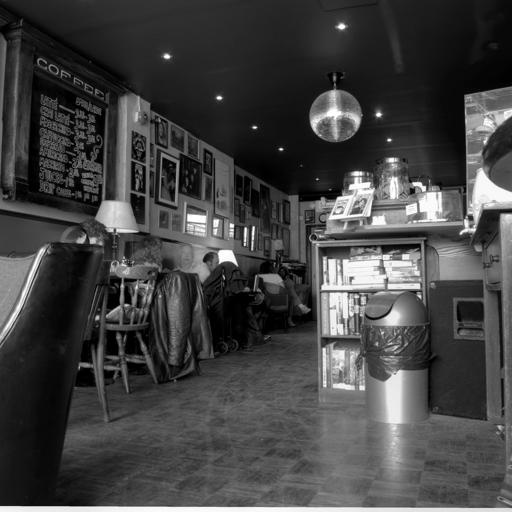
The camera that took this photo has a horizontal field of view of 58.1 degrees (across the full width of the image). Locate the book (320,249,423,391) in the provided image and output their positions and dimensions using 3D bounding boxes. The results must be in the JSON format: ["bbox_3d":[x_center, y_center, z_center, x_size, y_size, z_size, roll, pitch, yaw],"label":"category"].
[{"bbox_3d":[0.779,0.441,3.057,0.761,1.320,0.346,-2,-6,21],"label":"book"}]

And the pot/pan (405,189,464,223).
[{"bbox_3d":[1.197,-0.327,3.094,0.364,0.219,0.184,-1,-2,20],"label":"pot/pan"}]

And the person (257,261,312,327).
[{"bbox_3d":[0.640,0.808,9.716,0.881,1.345,2.461,-1,-2,10],"label":"person"}]

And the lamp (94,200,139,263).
[{"bbox_3d":[-1.446,-0.266,4.895,0.386,0.629,0.692,0,-2,-9],"label":"lamp"}]

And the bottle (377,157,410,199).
[{"bbox_3d":[1.021,-0.550,3.565,0.271,0.394,0.307,-1,-2,-1],"label":"bottle"}]

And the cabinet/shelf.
[{"bbox_3d":[0.945,0.380,3.026,0.954,1.176,0.354,-1,-6,14],"label":"cabinet/shelf"}]

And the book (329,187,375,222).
[{"bbox_3d":[0.689,-0.378,3.340,0.321,0.253,0.251,-1,-2,17],"label":"book"}]

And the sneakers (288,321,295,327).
[{"bbox_3d":[0.747,1.429,9.623,0.107,0.110,0.095,3,3,24],"label":"sneakers"}]

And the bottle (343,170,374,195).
[{"bbox_3d":[0.790,-0.571,3.517,0.189,0.160,0.202,-1,2,0],"label":"bottle"}]

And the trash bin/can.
[{"bbox_3d":[0.832,0.598,2.718,0.370,0.718,0.219,-1,-2,14],"label":"trash bin/can"}]

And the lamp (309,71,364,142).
[{"bbox_3d":[0.781,-1.447,4.569,0.463,0.751,0.468,12,-16,-31],"label":"lamp"}]
